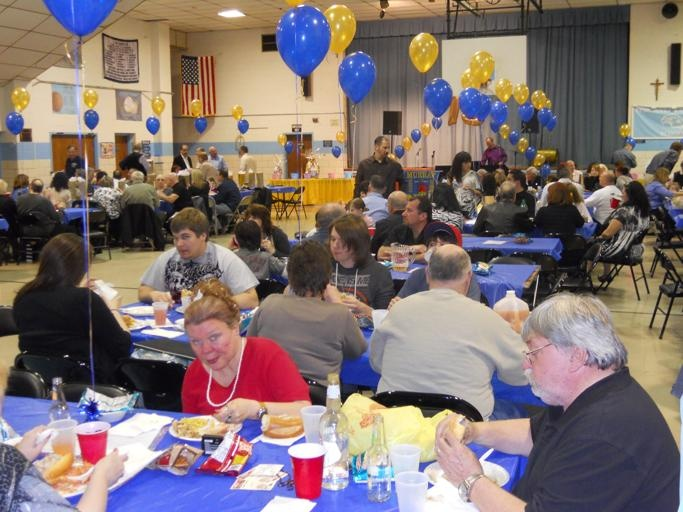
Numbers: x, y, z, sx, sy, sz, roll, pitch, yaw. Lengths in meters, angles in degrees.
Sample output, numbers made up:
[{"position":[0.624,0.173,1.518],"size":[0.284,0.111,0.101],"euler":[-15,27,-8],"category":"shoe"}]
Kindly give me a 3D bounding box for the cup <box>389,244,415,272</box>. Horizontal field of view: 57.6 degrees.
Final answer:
[{"position":[0.532,0.016,5.196],"size":[0.203,0.251,0.151],"euler":[0,1,-17],"category":"cup"}]

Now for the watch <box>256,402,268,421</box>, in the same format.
[{"position":[-0.311,0.614,2.474],"size":[0.036,0.068,0.059],"euler":[8,26,-10],"category":"watch"}]

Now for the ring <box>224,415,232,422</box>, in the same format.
[{"position":[-0.443,0.634,2.425],"size":[0.027,0.030,0.010],"euler":[-37,14,15],"category":"ring"}]

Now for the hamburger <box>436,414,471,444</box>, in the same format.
[{"position":[0.398,0.619,2.209],"size":[0.060,0.069,0.085],"euler":[42,29,28],"category":"hamburger"}]

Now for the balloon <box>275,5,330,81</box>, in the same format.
[{"position":[-0.365,-2.171,6.406],"size":[0.553,0.887,0.632],"euler":[1,14,0],"category":"balloon"}]

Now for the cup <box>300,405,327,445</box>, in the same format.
[{"position":[-0.103,0.617,2.294],"size":[0.102,0.137,0.111],"euler":[0,8,0],"category":"cup"}]

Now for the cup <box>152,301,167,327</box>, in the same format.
[{"position":[-1.120,0.365,3.851],"size":[0.109,0.167,0.117],"euler":[0,-1,0],"category":"cup"}]

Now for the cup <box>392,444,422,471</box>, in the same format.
[{"position":[0.221,0.688,2.117],"size":[0.072,0.101,0.088],"euler":[-1,1,-3],"category":"cup"}]

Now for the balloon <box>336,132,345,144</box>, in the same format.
[{"position":[-0.007,-3.344,17.487],"size":[0.297,0.460,0.334],"euler":[-1,0,-3],"category":"balloon"}]

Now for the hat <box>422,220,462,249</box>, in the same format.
[{"position":[0.779,-0.176,4.999],"size":[0.241,0.233,0.438],"euler":[1,-4,9],"category":"hat"}]

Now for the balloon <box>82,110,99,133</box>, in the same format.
[{"position":[-5.109,-2.810,12.653],"size":[0.243,0.390,0.570],"euler":[-3,8,-27],"category":"balloon"}]

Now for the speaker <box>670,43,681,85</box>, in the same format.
[{"position":[8.418,-4.815,15.564],"size":[0.266,1.043,0.153],"euler":[3,7,16],"category":"speaker"}]

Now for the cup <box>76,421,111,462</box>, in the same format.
[{"position":[-0.880,0.649,2.235],"size":[0.106,0.128,0.123],"euler":[-3,1,-8],"category":"cup"}]

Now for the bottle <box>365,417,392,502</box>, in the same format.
[{"position":[0.133,0.679,2.133],"size":[0.088,0.253,0.175],"euler":[1,7,4],"category":"bottle"}]

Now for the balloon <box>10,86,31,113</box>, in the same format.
[{"position":[-5.910,-2.903,11.433],"size":[0.266,0.408,0.604],"euler":[-3,9,-30],"category":"balloon"}]

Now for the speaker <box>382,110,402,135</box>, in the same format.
[{"position":[1.413,-3.657,16.963],"size":[0.486,0.646,0.579],"euler":[1,7,-1],"category":"speaker"}]

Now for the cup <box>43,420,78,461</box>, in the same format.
[{"position":[-0.985,0.644,2.200],"size":[0.105,0.139,0.110],"euler":[0,3,0],"category":"cup"}]

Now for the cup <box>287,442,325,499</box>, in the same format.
[{"position":[-0.114,0.710,2.109],"size":[0.130,0.164,0.145],"euler":[-1,2,-4],"category":"cup"}]

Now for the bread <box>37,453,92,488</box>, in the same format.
[{"position":[-0.933,0.727,2.095],"size":[0.141,0.064,0.166],"euler":[15,2,-27],"category":"bread"}]

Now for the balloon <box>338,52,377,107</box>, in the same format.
[{"position":[0.211,-2.279,7.920],"size":[0.466,0.733,0.512],"euler":[-3,13,-18],"category":"balloon"}]

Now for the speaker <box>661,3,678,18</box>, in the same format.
[{"position":[8.167,-6.104,15.365],"size":[0.378,0.350,0.445],"euler":[5,8,28],"category":"speaker"}]

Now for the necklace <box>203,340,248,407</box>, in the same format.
[{"position":[-0.501,0.529,2.689],"size":[0.140,0.324,0.042],"euler":[8,9,29],"category":"necklace"}]

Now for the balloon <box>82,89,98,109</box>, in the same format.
[{"position":[-5.095,-3.187,12.570],"size":[0.232,0.346,0.519],"euler":[-2,8,-25],"category":"balloon"}]
